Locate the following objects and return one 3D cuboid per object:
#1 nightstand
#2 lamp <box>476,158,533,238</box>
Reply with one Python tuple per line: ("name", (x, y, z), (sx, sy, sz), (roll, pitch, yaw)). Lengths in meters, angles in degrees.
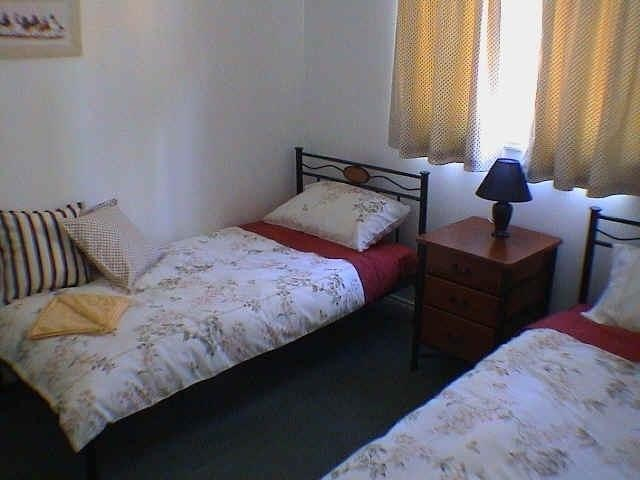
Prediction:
("nightstand", (0.916, 0.324, 2.801), (0.640, 0.758, 0.633), (8, 24, 28))
("lamp", (0.997, -0.221, 2.664), (0.260, 0.420, 0.273), (9, 20, 30))
